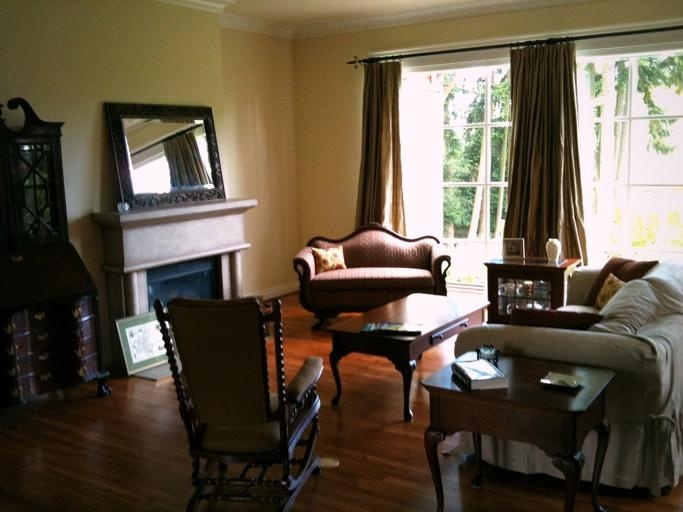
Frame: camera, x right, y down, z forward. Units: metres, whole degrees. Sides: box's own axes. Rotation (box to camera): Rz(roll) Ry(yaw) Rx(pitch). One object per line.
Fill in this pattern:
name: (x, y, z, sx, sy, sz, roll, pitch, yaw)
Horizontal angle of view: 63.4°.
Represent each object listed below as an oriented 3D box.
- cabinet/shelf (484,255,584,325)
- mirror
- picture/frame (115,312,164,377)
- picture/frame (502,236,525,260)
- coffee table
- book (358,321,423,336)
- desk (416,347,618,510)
cabinet/shelf: (2.028, 0.126, 5.717, 1.022, 1.026, 0.696, 2, 4, 31)
mirror: (-1.823, -0.997, 5.542, 0.054, 1.037, 1.242, -8, -1, 38)
picture/frame: (-1.863, 0.809, 5.032, 0.050, 0.485, 0.657, -12, 15, 23)
picture/frame: (1.790, -0.080, 5.775, 0.220, 0.239, 0.034, 0, -11, 7)
coffee table: (0.435, 0.989, 4.428, 0.744, 0.595, 1.444, 3, 8, 30)
book: (0.388, 0.542, 4.253, 0.464, 0.052, 0.288, -4, 13, 10)
desk: (0.946, 0.572, 2.963, 0.987, 0.894, 0.760, 6, 19, 31)
